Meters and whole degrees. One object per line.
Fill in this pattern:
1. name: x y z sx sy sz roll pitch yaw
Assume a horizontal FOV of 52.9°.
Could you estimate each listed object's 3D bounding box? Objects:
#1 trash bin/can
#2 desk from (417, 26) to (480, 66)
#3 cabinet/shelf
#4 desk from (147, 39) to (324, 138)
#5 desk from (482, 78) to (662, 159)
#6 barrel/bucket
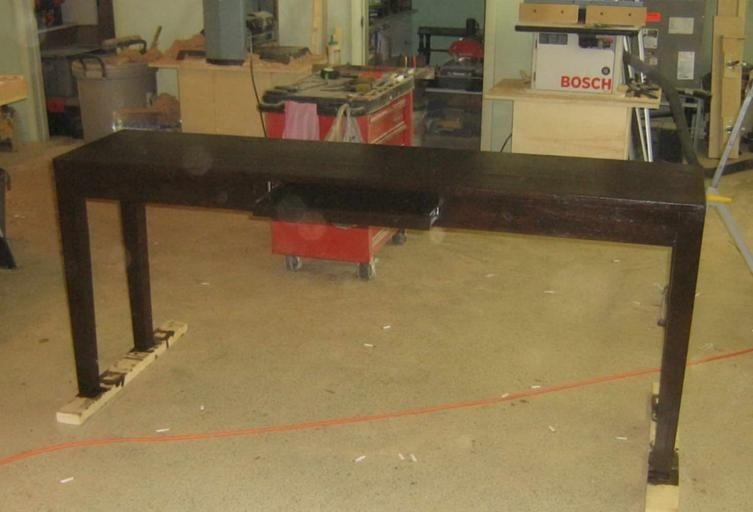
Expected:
1. trash bin/can: -2.743 -1.794 8.138 0.824 0.833 0.817 3 26 8
2. desk: 0.852 -2.556 9.245 0.695 0.484 1.979 0 19 2
3. cabinet/shelf: -0.236 -0.465 4.680 0.744 1.092 1.286 4 22 11
4. desk: -1.134 -1.411 6.351 1.342 0.914 0.683 8 23 22
5. desk: 1.506 -1.083 5.825 1.124 0.752 0.573 6 26 18
6. barrel/bucket: -2.745 -1.661 8.229 0.884 0.886 0.926 0 10 0
